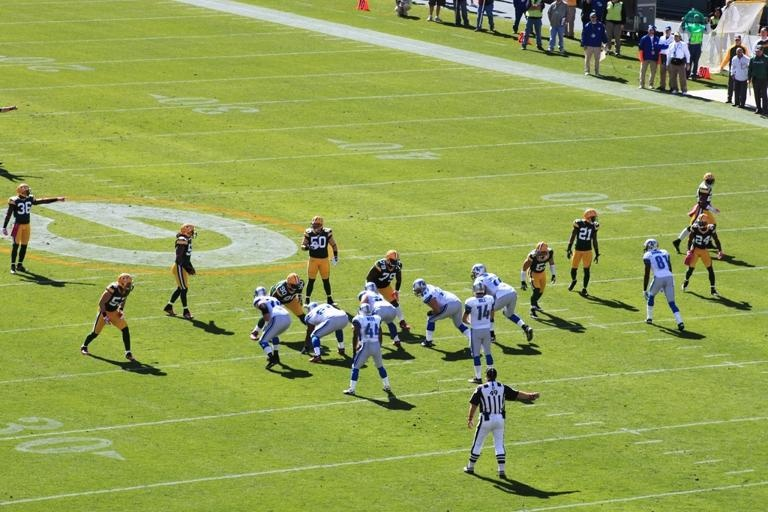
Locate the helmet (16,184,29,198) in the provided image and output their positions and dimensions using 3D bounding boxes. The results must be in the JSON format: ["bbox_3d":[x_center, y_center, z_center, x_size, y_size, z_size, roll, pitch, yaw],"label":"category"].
[{"bbox_3d":[-9.329,-1.715,34.393,0.279,0.303,0.535,6,10,-11],"label":"helmet"}]

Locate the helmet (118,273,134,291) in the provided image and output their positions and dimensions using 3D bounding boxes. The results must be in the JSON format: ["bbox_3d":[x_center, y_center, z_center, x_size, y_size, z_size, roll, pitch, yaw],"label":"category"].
[{"bbox_3d":[-5.863,0.567,30.092,0.307,0.319,0.238,7,12,-2],"label":"helmet"}]

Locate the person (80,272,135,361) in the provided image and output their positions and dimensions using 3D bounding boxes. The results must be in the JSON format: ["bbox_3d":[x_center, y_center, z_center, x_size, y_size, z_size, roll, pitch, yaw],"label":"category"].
[{"bbox_3d":[-6.140,1.329,30.434,1.432,1.985,0.819,11,13,10],"label":"person"}]

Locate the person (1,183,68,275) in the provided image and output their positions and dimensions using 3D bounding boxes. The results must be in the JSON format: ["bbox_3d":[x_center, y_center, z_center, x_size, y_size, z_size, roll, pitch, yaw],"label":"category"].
[{"bbox_3d":[-9.370,-0.739,34.533,0.998,2.288,1.079,7,13,-13],"label":"person"}]

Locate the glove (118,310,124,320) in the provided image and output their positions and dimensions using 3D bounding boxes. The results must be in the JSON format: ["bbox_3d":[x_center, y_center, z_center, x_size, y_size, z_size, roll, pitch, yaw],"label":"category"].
[{"bbox_3d":[-6.008,1.352,30.374,0.120,0.226,0.206,-9,-5,19],"label":"glove"}]

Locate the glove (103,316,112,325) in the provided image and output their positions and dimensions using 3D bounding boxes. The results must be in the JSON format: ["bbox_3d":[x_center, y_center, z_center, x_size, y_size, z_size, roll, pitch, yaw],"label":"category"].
[{"bbox_3d":[-6.299,1.450,30.213,0.174,0.175,0.085,7,4,40],"label":"glove"}]
